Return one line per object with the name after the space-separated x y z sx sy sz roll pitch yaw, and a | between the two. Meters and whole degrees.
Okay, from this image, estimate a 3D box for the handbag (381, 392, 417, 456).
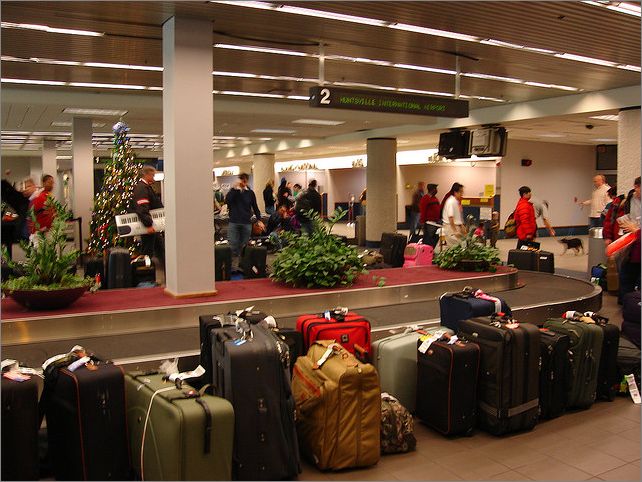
0.631 1.493 4.133 0.241 0.377 0.410 -6 3 -6 | handbag

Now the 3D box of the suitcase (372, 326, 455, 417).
0.817 1.155 4.387 0.798 0.765 0.279 -2 2 -30 | suitcase

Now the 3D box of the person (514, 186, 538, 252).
4.060 -0.435 9.988 0.393 1.207 0.565 -1 6 21 | person

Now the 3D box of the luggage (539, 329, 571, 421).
2.123 1.243 4.630 0.382 0.763 0.166 -6 6 -34 | luggage

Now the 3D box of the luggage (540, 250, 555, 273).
4.397 0.423 9.800 0.232 0.399 0.294 2 7 43 | luggage

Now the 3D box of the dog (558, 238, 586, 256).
7.212 0.157 14.401 0.594 0.483 1.283 0 5 27 | dog

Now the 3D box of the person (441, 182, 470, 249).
2.526 -0.477 9.469 0.374 1.168 0.649 -3 5 -9 | person

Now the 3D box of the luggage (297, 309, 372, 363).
0.108 0.761 4.622 0.537 0.504 0.489 0 5 -22 | luggage

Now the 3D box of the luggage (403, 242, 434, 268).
1.815 0.241 9.351 0.424 0.639 0.528 -3 8 -31 | luggage

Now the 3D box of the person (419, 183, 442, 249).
2.702 -0.610 12.448 0.460 1.552 0.817 -2 5 10 | person

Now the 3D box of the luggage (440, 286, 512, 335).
1.638 0.872 5.399 0.579 0.625 0.695 -4 7 -15 | luggage
